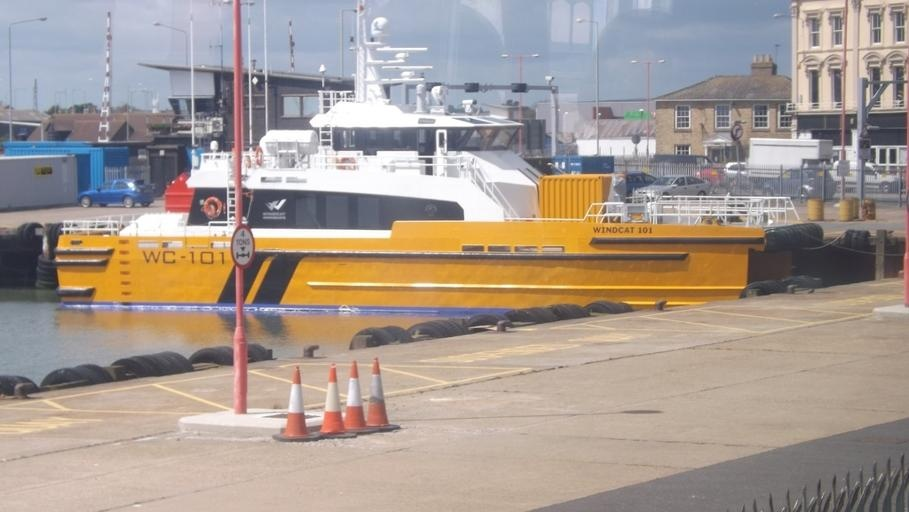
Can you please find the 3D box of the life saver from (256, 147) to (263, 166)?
[{"bbox_3d":[-8.432,-4.327,84.394,0.263,0.631,0.515,-2,2,-24],"label":"life saver"}]

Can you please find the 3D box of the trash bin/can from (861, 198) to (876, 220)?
[{"bbox_3d":[19.946,-2.255,93.804,0.684,1.008,0.812,0,4,8],"label":"trash bin/can"}]
